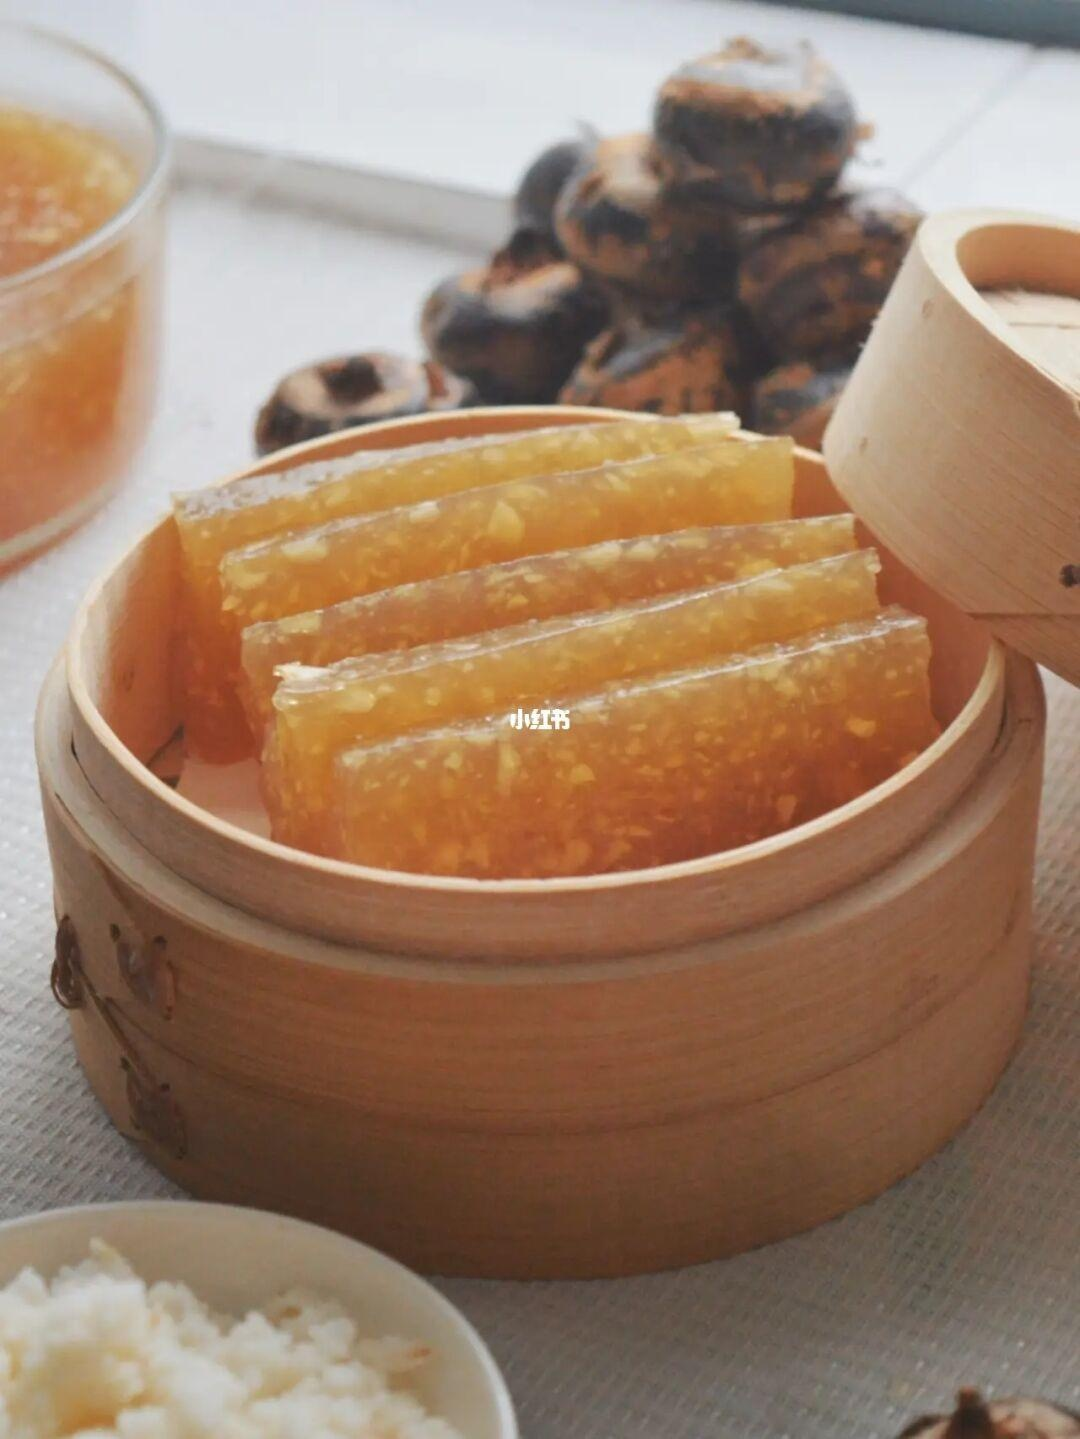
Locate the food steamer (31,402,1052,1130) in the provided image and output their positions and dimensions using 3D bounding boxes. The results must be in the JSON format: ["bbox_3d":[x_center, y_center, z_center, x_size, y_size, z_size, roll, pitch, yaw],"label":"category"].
[{"bbox_3d":[-0.043,0.047,1.019,0.560,0.190,0.361,17,38,19],"label":"food steamer"}]

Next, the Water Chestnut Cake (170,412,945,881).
[{"bbox_3d":[0.010,-0.050,1.021,0.407,0.142,0.327,-6,35,-8],"label":"Water Chestnut Cake"}]
